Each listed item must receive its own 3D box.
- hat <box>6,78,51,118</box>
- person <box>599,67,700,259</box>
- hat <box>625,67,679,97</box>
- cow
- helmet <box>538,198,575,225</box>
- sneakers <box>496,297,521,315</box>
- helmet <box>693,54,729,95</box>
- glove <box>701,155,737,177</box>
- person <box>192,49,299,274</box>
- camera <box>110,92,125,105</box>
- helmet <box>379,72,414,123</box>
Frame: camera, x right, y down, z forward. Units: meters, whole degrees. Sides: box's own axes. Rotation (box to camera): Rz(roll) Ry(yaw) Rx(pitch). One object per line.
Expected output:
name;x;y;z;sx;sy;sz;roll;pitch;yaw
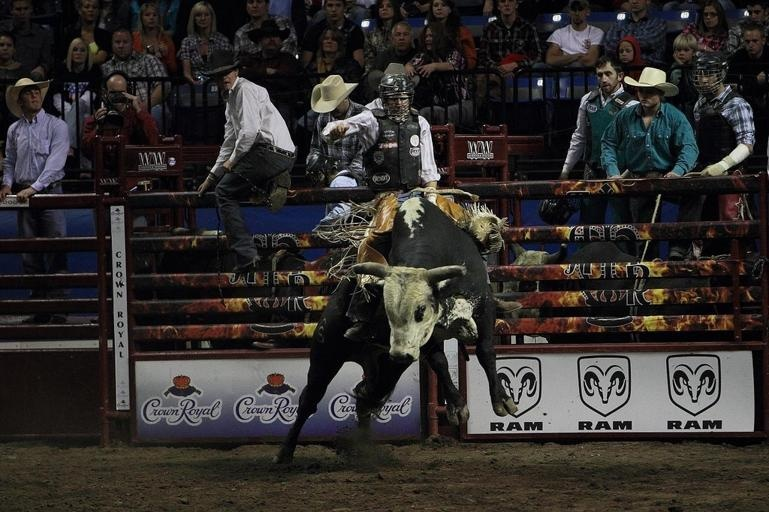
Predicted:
hat;-4.898;-2.192;23.321;0.541;0.173;0.595;-2;-33;-25
person;3.291;-1.202;21.941;1.025;2.382;1.359;-3;7;-35
hat;3.403;-2.132;21.994;0.501;0.179;0.507;14;-1;41
cow;0.185;0.706;19.677;1.995;2.821;1.845;5;7;39
helmet;2.233;-0.643;22.937;0.409;0.346;0.303;24;19;12
sneakers;1.469;0.562;20.257;0.387;0.134;0.134;-4;20;0
helmet;4.005;-2.300;21.881;0.426;0.462;0.553;-1;2;30
glove;4.053;-1.133;21.303;0.354;0.237;0.768;3;6;28
person;-1.694;-1.198;21.221;1.128;2.671;0.750;1;6;2
camera;-3.603;-2.145;23.461;0.225;0.143;0.085;-1;6;-14
helmet;0.127;-1.899;20.415;0.482;0.499;0.574;-2;20;-7
